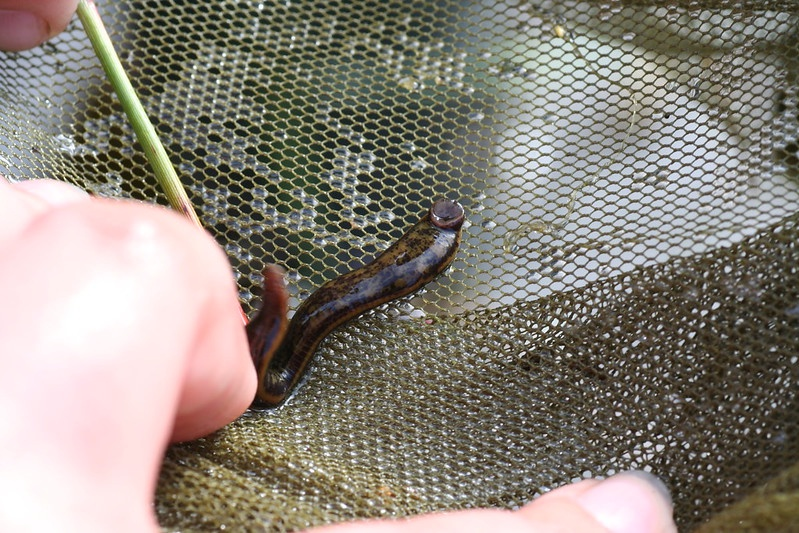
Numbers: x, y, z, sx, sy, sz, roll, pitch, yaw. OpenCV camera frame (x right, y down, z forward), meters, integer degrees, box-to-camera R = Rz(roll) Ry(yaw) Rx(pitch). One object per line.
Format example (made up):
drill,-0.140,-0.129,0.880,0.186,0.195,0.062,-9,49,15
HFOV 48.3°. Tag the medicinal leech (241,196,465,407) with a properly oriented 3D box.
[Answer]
medicinal leech,-0.054,0.040,1.135,0.350,0.135,0.154,-31,93,21
